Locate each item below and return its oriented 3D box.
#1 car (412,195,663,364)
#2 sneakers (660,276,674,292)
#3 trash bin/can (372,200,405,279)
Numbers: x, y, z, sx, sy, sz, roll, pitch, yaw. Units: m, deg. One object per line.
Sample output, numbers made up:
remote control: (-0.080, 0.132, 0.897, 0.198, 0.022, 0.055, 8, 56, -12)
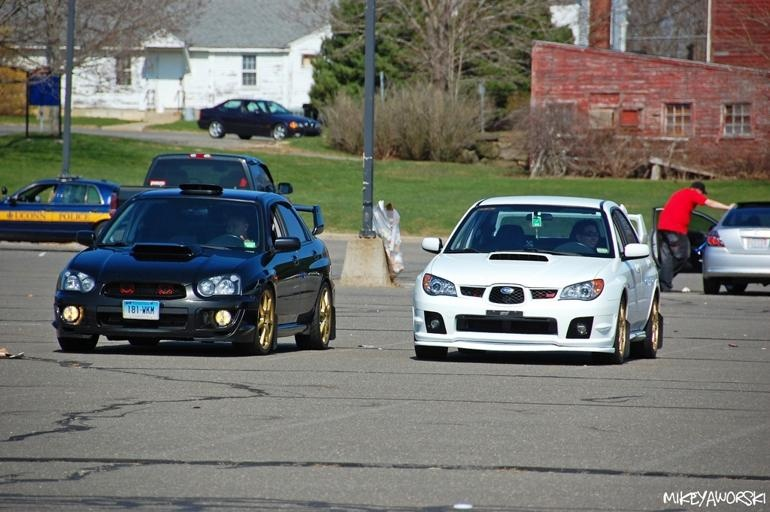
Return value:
car: (2.602, 0.520, 27.833, 4.284, 2.703, 2.375, 0, 15, -3)
sneakers: (6.292, 0.629, 36.389, 0.235, 0.275, 0.688, 2, 14, 20)
trash bin/can: (0.047, -0.285, 37.488, 0.699, 1.945, 1.722, 1, 15, 0)
